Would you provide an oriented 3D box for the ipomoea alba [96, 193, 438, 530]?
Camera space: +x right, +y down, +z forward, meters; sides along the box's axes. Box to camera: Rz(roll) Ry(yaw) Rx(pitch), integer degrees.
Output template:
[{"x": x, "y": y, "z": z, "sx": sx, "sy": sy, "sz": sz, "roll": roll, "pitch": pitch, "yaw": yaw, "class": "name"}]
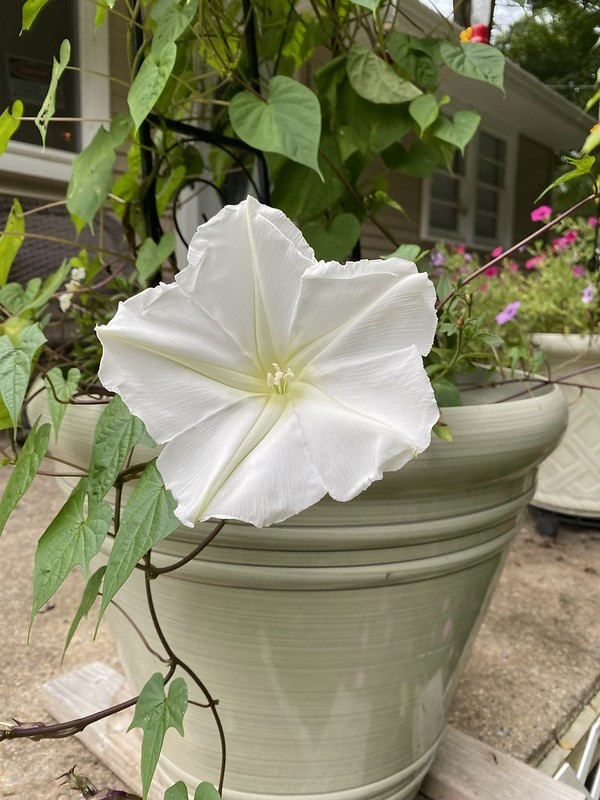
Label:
[{"x": -0.025, "y": -0.031, "z": 0.440, "sx": 0.230, "sy": 0.214, "sz": 0.110, "roll": 2, "pitch": 7, "yaw": -1, "class": "ipomoea alba"}]
